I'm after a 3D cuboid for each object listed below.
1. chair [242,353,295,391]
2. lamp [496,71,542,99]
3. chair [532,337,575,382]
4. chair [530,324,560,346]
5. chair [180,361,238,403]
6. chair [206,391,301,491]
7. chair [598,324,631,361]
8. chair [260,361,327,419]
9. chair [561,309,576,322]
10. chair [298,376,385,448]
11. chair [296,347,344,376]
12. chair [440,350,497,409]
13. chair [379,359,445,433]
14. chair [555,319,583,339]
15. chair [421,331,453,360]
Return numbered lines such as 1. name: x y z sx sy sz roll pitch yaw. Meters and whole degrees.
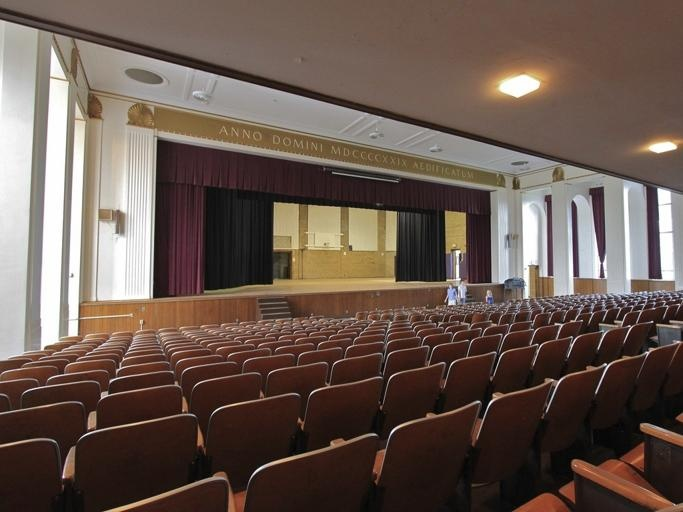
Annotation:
1. chair: -0.691 1.047 4.571 0.339 0.457 0.361 1 2 -23
2. lamp: 1.876 -1.776 4.988 0.410 0.141 0.440 -1 2 41
3. chair: 2.070 1.034 4.874 0.401 0.536 0.440 2 -1 -8
4. chair: 2.347 0.916 5.471 0.201 0.340 0.224 -1 3 -17
5. chair: -1.227 1.089 4.413 0.362 0.487 0.365 0 5 -24
6. chair: -0.673 1.304 3.628 0.668 0.904 0.652 -1 9 -23
7. chair: 2.986 0.884 5.199 0.313 0.347 0.276 -8 22 12
8. chair: -0.361 1.081 4.105 0.432 0.607 0.493 2 -3 -24
9. chair: 3.449 0.895 7.154 0.185 0.273 0.223 -4 -10 33
10. chair: -0.070 1.153 3.842 0.513 0.686 0.557 1 0 -25
11. chair: -0.205 1.018 4.753 0.260 0.392 0.269 2 -2 -34
12. chair: 1.148 1.100 4.445 0.468 0.640 0.524 1 -3 -15
13. chair: 0.570 1.221 4.204 0.527 0.710 0.580 2 -3 -19
14. chair: 2.742 0.884 5.702 0.245 0.337 0.226 0 2 -11
15. chair: 1.114 1.039 5.465 0.228 0.337 0.232 0 -1 -22
